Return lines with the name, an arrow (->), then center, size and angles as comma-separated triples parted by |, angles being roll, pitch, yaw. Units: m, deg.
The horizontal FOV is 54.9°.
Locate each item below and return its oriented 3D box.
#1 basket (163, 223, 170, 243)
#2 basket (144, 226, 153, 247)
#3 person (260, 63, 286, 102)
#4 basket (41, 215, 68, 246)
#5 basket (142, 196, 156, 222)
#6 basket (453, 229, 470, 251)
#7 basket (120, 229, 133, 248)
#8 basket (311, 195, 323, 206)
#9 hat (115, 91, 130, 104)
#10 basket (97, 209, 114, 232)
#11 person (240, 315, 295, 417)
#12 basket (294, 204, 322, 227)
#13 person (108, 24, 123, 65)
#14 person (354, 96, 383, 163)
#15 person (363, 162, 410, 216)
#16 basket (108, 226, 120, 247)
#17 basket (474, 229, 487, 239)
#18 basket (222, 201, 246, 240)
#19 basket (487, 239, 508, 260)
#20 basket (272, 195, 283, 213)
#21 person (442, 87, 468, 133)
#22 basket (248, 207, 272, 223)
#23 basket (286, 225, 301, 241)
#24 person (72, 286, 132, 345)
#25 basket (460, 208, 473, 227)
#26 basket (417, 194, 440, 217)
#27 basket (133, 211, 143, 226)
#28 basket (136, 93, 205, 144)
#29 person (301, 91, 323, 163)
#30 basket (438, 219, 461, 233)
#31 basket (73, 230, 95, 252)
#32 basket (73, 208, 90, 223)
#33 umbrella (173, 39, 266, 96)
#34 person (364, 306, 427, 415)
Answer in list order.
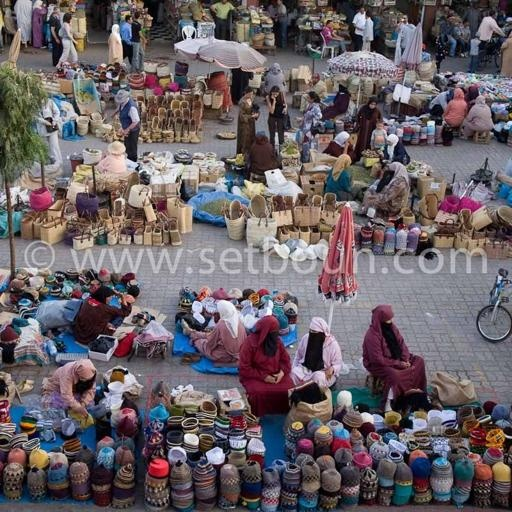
basket -> -1.717, -0.433, 9.377 | 0.112, 0.346, 0.132 | -2, 1, -8
basket -> -2.025, -0.357, 9.270 | 0.188, 0.222, 0.327 | 2, 27, 1
person -> 0.610, -5.524, 15.695 | 0.802, 0.992, 0.692 | -5, 9, -19
basket -> -3.720, -0.452, 9.098 | 0.151, 0.416, 0.448 | 31, 39, 22
basket -> -2.051, -0.883, 9.447 | 0.246, 0.412, 0.103 | -20, 13, -26
basket -> 3.895, -0.331, 9.523 | 0.458, 0.412, 0.266 | 4, 8, 31
basket -> -2.451, -0.354, 9.230 | 0.211, 0.280, 0.162 | 5, 23, 3
basket -> 1.191, -1.085, 9.710 | 0.206, 0.322, 0.231 | 6, 54, 5
hat -> -3.030, -3.639, 11.179 | 0.288, 0.131, 0.327 | -25, 63, 7
basket -> -2.847, -0.680, 9.291 | 0.195, 0.216, 0.589 | 0, 36, -15
person -> 0.112, 1.266, 5.683 | 0.610, 1.045, 0.571 | 3, 23, 0
basket -> 0.928, -0.789, 9.535 | 0.637, 0.573, 0.363 | -1, 19, -3
person -> -4.616, -6.942, 16.104 | 0.424, 1.216, 0.794 | -3, 24, -15
person -> 2.863, -3.204, 12.704 | 0.629, 1.678, 0.493 | 22, 37, 32
person -> 2.660, -1.379, 10.043 | 0.840, 1.018, 0.828 | 2, 22, -2
basket -> -2.659, -0.370, 9.209 | 0.238, 0.313, 0.187 | -14, 28, -36
basket -> 4.260, -0.447, 9.397 | 0.177, 0.192, 0.147 | 18, 44, 21
basket -> -0.422, -0.719, 9.600 | 0.365, 0.765, 0.493 | -2, 23, -13
basket -> 4.524, -0.133, 9.285 | 0.374, 0.329, 0.208 | 0, 24, 4
basket -> 0.414, -1.000, 9.623 | 0.227, 0.349, 0.339 | 3, 50, 0
person -> 5.832, -4.352, 14.543 | 0.519, 1.172, 0.996 | 21, 28, 36
basket -> 0.050, -0.748, 9.300 | 0.442, 0.420, 0.248 | -3, 61, -3
basket -> 0.703, -0.450, 9.294 | 0.237, 0.137, 0.223 | 2, 32, 0
person -> -2.142, 0.812, 6.988 | 0.592, 0.767, 0.943 | 18, 18, 17
basket -> 4.032, -0.748, 9.485 | 0.211, 0.161, 0.399 | 2, 59, 8
basket -> 3.455, -1.024, 10.023 | 0.393, 0.485, 0.468 | -2, 19, -8
basket -> -2.262, -0.735, 9.430 | 0.221, 0.247, 0.242 | -2, 23, -14
basket -> -2.373, -3.882, 13.459 | 1.895, 0.436, 1.744 | 0, 50, -3
person -> 1.364, -3.298, 12.459 | 0.465, 1.661, 0.979 | 5, 23, 4
basket -> 3.708, -0.578, 9.453 | 0.275, 0.212, 0.096 | -1, 36, 1
basket -> -3.143, -0.297, 9.058 | 0.426, 0.394, 0.249 | -15, 30, -35
basket -> -3.278, -0.740, 9.332 | 0.379, 0.261, 0.204 | 3, 9, 6
umbrella -> -1.017, -5.898, 14.262 | 2.431, 0.848, 1.286 | 20, 27, 36
person -> 1.651, 1.248, 5.960 | 0.740, 1.153, 0.718 | 0, 9, 25
